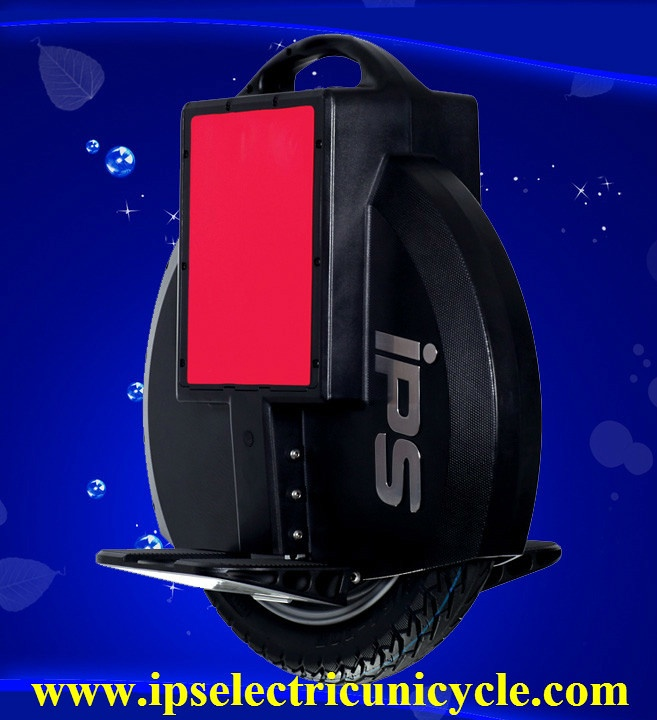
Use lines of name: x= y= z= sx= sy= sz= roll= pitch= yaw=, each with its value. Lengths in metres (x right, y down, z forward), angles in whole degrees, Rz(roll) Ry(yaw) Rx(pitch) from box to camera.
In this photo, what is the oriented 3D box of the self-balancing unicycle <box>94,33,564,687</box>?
self-balancing unicycle: x=0.006 y=0.012 z=1.570 sx=0.713 sy=0.849 sz=0.983 roll=3 pitch=88 yaw=-36
